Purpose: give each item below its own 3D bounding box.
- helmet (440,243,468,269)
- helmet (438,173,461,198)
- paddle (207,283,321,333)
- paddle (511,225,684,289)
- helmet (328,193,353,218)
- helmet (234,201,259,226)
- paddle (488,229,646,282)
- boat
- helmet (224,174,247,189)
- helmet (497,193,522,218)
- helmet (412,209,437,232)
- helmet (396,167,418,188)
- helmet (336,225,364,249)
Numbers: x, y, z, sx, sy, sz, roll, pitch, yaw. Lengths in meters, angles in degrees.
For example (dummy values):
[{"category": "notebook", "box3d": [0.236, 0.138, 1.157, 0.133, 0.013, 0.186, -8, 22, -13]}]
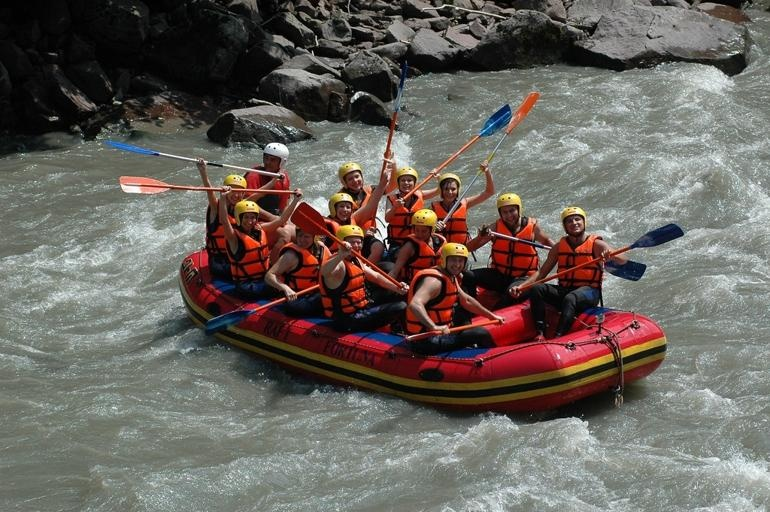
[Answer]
[{"category": "helmet", "box3d": [0.859, -0.043, 10.609, 0.277, 0.230, 0.324, 3, 31, -20]}, {"category": "helmet", "box3d": [0.908, -1.043, 12.220, 0.335, 0.356, 0.319, 3, 44, 0]}, {"category": "paddle", "box3d": [-1.526, 0.689, 11.407, 1.929, 0.218, 0.097, -17, 25, -13]}, {"category": "paddle", "box3d": [2.948, 0.045, 11.857, 2.335, 0.313, 0.330, -17, 64, 14]}, {"category": "helmet", "box3d": [-0.551, -0.724, 11.832, 0.305, 0.250, 0.373, -1, -2, -19]}, {"category": "helmet", "box3d": [-1.846, -0.597, 11.699, 0.292, 0.267, 0.342, 1, -8, -22]}, {"category": "paddle", "box3d": [2.078, -0.118, 10.950, 3.051, 0.137, 0.423, 3, 54, -18]}, {"category": "boat", "box3d": [0.426, 1.081, 10.795, 4.096, 0.760, 2.161, 9, 19, 29]}, {"category": "helmet", "box3d": [-2.093, -1.022, 12.161, 0.251, 0.288, 0.215, 9, 48, -14]}, {"category": "helmet", "box3d": [1.706, -0.708, 11.720, 0.348, 0.352, 0.377, -5, 2, 13]}, {"category": "helmet", "box3d": [0.514, -0.463, 11.246, 0.261, 0.307, 0.214, 13, 61, -21]}, {"category": "helmet", "box3d": [0.321, -1.191, 12.241, 0.265, 0.212, 0.313, 0, -12, 1]}, {"category": "helmet", "box3d": [-0.426, -0.281, 10.919, 0.258, 0.245, 0.318, 3, -2, -31]}]
